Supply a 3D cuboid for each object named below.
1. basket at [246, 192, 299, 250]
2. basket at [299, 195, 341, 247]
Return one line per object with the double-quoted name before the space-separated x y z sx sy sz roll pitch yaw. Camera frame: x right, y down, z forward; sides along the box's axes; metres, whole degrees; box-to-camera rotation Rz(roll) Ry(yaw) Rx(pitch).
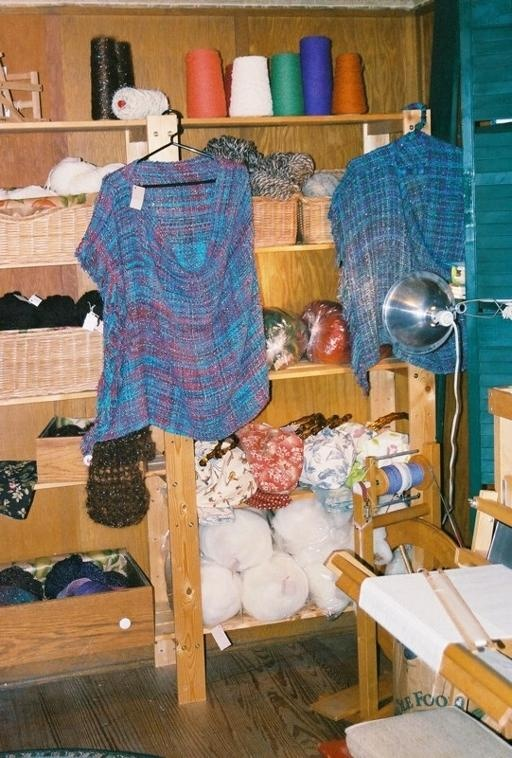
"basket" 0.053 -0.456 1.809 0.135 0.113 0.159 -1 4 -5
"basket" 0.182 -0.488 1.912 0.133 0.107 0.146 -3 7 -15
